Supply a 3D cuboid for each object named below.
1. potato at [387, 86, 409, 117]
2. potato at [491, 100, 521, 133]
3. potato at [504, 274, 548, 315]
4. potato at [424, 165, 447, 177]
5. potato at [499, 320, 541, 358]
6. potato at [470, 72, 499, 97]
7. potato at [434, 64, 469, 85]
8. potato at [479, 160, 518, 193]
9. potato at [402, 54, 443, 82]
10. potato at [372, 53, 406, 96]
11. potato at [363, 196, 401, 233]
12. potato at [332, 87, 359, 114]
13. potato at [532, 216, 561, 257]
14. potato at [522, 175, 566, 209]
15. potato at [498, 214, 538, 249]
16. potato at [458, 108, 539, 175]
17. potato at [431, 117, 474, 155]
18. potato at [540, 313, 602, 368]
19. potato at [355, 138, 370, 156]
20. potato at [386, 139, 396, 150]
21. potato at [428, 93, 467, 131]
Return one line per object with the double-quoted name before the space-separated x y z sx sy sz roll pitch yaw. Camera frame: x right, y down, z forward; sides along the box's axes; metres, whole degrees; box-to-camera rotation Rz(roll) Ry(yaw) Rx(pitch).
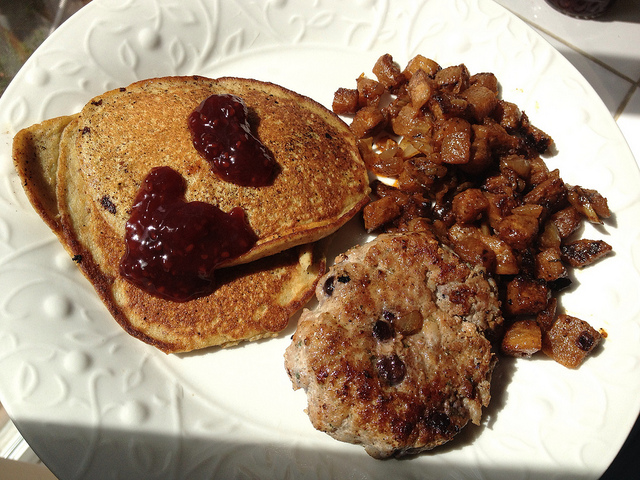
"potato" 0.762 -1.307 6.647 0.180 0.068 0.295 36 83 19
"potato" 1.747 -1.154 6.476 0.252 0.089 0.285 -25 81 6
"potato" 1.828 0.482 6.111 0.304 0.126 0.374 6 82 0
"potato" 1.054 -0.618 6.216 0.141 0.061 0.099 -6 84 -6
"potato" 1.780 0.849 6.130 0.366 0.109 0.440 -24 26 2
"potato" 1.570 -1.496 6.591 0.211 0.087 0.247 12 57 -3
"potato" 1.206 -1.530 6.466 0.225 0.089 0.206 -18 38 14
"potato" 1.654 -0.537 6.288 0.247 0.080 0.280 11 70 17
"potato" 0.966 -1.640 6.617 0.252 0.082 0.259 39 81 15
"potato" 0.658 -1.588 6.643 0.103 0.335 0.323 -18 51 -32
"potato" 0.586 -0.268 6.410 0.394 0.112 0.301 27 26 2
"potato" 0.247 -1.328 6.638 0.204 0.169 0.232 9 61 4
"potato" 2.048 -0.034 6.249 0.230 0.076 0.339 11 89 7
"potato" 2.044 -0.430 6.229 0.267 0.094 0.291 -23 54 20
"potato" 1.758 -0.091 6.101 0.268 0.159 0.308 17 75 20
"potato" 1.590 -0.860 6.292 0.546 0.197 0.645 -13 98 -16
"potato" 1.188 -0.991 6.283 0.366 0.296 0.350 -4 24 -1
"potato" 2.178 0.855 6.110 0.532 0.433 0.490 1 24 12
"potato" 0.407 -0.875 6.566 0.144 0.155 0.045 1 28 41
"potato" 0.677 -0.916 6.634 0.069 0.032 0.097 -2 74 -6
"potato" 1.138 -1.206 6.319 0.324 0.099 0.319 -40 63 0
